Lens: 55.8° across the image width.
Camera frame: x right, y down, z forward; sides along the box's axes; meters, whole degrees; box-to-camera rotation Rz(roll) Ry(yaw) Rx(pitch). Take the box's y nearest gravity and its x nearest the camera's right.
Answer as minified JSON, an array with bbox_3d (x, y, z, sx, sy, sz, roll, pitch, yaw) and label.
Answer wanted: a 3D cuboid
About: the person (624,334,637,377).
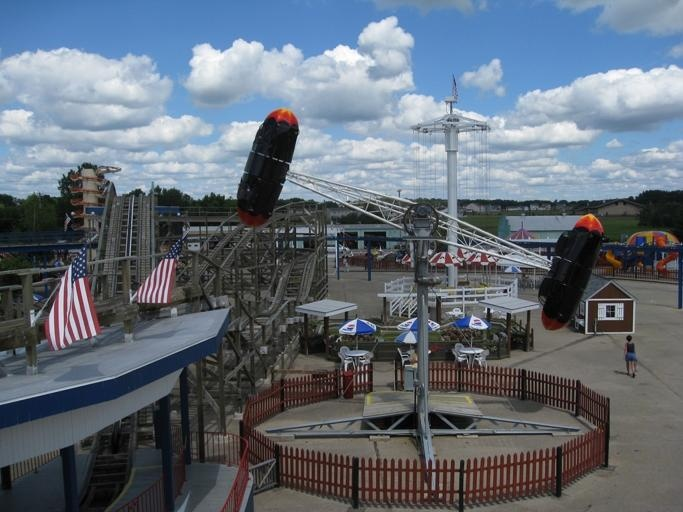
[{"bbox_3d":[10.358,3.524,23.038,0.403,1.459,0.895,3,7,24],"label":"person"}]

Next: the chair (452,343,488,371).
[{"bbox_3d":[4.677,3.663,23.622,0.969,0.611,0.982,0,-2,-3],"label":"chair"}]

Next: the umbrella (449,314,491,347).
[{"bbox_3d":[4.874,2.952,24.173,1.296,1.166,1.312,-2,8,-19],"label":"umbrella"}]

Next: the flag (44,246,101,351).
[{"bbox_3d":[-5.026,0.758,11.972,0.888,1.861,0.493,-3,7,-27],"label":"flag"}]

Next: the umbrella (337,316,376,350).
[{"bbox_3d":[0.518,2.623,23.447,1.264,0.888,1.262,-7,10,-15],"label":"umbrella"}]

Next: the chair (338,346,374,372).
[{"bbox_3d":[0.541,3.780,23.711,0.934,0.629,0.948,-5,-6,30],"label":"chair"}]
